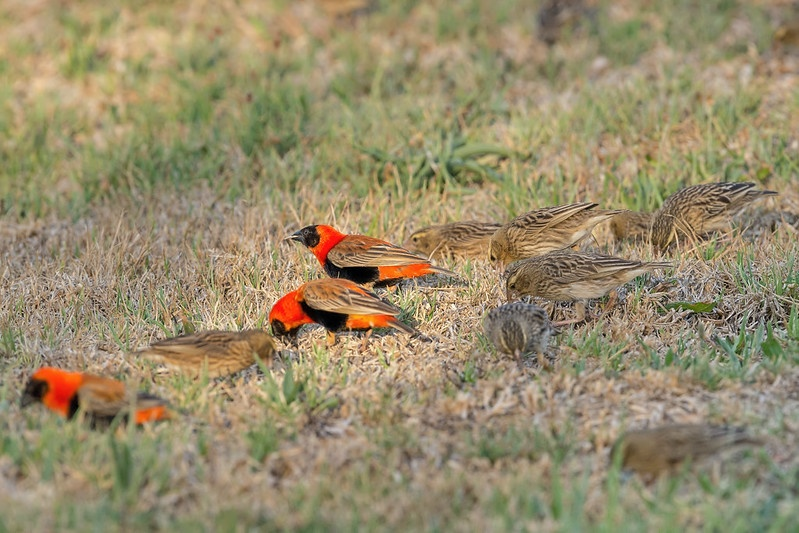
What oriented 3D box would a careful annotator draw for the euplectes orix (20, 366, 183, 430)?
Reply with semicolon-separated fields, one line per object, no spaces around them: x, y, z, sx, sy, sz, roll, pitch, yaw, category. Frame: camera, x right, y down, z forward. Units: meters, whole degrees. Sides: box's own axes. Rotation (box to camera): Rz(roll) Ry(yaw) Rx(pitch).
-2.508;1.084;7.468;1.402;0.471;0.595;-3;88;9;euplectes orix

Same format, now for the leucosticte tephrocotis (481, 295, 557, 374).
1.014;0.585;7.700;0.575;0.228;0.548;-1;64;12;leucosticte tephrocotis

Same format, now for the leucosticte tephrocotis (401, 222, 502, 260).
0.602;-0.326;9.745;0.930;0.433;0.388;2;97;5;leucosticte tephrocotis

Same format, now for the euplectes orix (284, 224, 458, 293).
-0.313;-0.101;9.028;1.559;0.571;0.724;-4;92;6;euplectes orix
